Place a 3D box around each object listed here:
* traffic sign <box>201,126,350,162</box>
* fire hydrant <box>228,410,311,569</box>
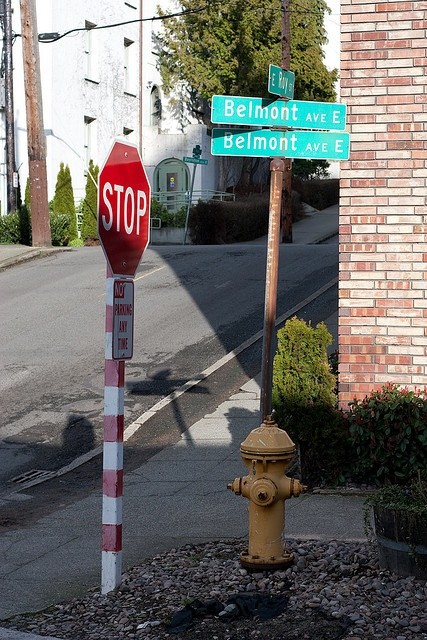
[{"bbox_3d":[0.476,-1.261,6.617,0.972,0.219,0.353,0,9,0],"label":"traffic sign"},{"bbox_3d":[0.345,1.110,5.893,0.394,0.874,0.400,-3,9,-15],"label":"fire hydrant"}]
